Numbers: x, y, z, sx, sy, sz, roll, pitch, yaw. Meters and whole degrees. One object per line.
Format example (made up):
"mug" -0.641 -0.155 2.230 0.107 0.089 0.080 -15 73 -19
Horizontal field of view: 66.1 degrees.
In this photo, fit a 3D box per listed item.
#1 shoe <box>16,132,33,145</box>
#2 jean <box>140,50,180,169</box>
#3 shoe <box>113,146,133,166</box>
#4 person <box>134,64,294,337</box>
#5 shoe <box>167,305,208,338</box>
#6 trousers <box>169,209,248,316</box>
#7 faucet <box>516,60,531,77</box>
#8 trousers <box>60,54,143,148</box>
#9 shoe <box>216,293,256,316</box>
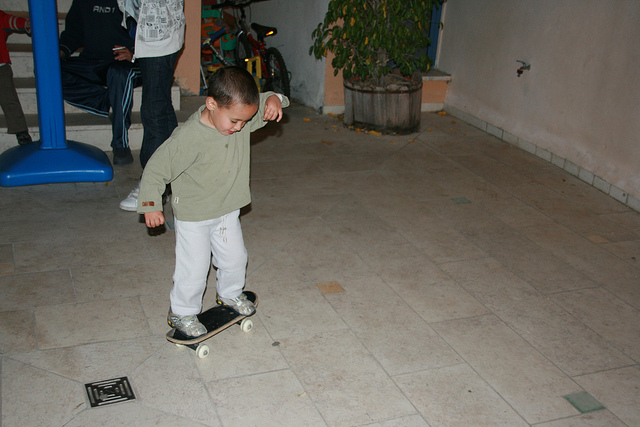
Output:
"shoe" -3.181 -0.812 5.289 0.145 0.143 0.272 -11 27 -28
"jean" -1.585 -0.888 4.722 0.345 1.241 0.344 5 32 -10
"shoe" -2.175 -0.634 5.445 0.230 0.214 0.146 -14 29 -32
"person" -0.679 -0.043 3.188 0.950 1.735 0.414 -15 31 -33
"shoe" -0.904 0.716 3.332 0.351 0.149 0.150 21 26 37
"trousers" -0.752 0.325 3.266 0.515 0.699 0.177 -9 28 -23
"faucet" 2.713 -1.941 6.617 0.068 0.217 0.236 -4 25 -13
"trousers" -2.302 -1.201 5.293 0.850 0.940 0.336 10 26 16
"shoe" -0.579 0.650 3.492 0.292 0.114 0.120 11 48 -3
